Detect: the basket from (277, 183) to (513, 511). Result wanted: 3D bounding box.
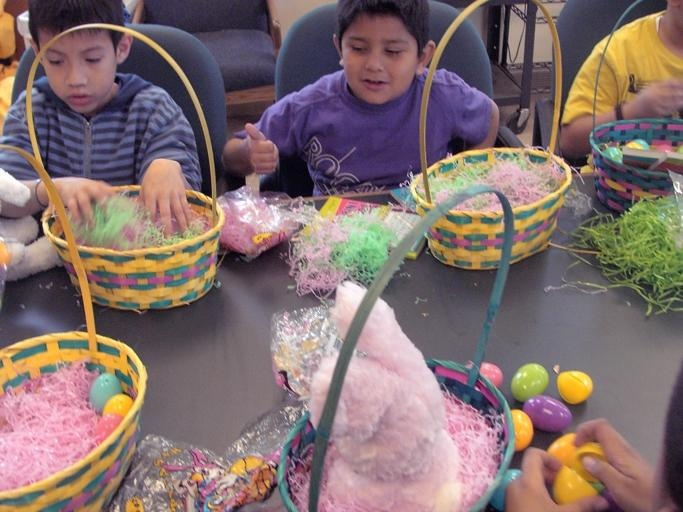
[{"bbox_3d":[0.087,0.090,0.737,0.455,0.390,0.132,-27,36,-36],"label":"basket"}]

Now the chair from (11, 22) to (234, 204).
[{"bbox_3d":[-0.625,-0.532,1.825,0.554,0.721,0.579,-1,38,-5],"label":"chair"}]
